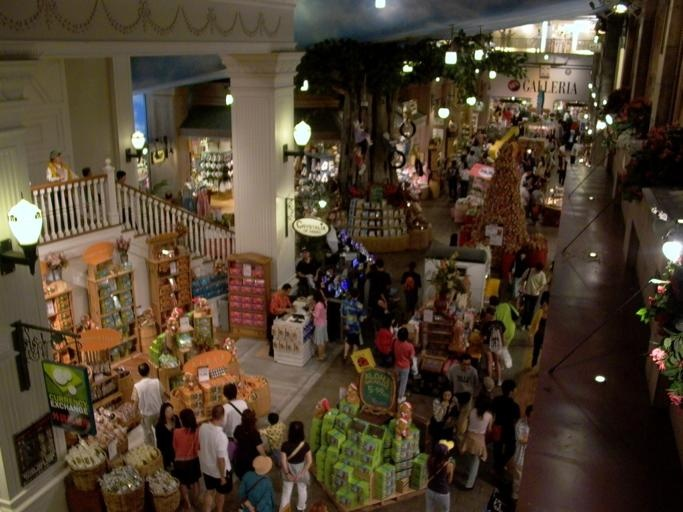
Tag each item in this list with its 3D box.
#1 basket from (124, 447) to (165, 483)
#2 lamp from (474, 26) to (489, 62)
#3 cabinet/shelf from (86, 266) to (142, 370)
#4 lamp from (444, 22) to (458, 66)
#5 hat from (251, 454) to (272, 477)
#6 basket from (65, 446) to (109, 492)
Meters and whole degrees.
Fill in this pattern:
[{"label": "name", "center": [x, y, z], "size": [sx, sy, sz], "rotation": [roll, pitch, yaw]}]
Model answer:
[{"label": "basket", "center": [-2.458, 2.564, 6.227], "size": [0.417, 0.247, 0.424], "rotation": [-10, 13, -32]}, {"label": "lamp", "center": [4.019, -5.990, 14.518], "size": [0.254, 0.938, 2.555], "rotation": [1, 12, 17]}, {"label": "cabinet/shelf", "center": [-4.322, 1.045, 9.482], "size": [0.326, 1.916, 0.822], "rotation": [6, 13, 36]}, {"label": "lamp", "center": [2.914, -5.473, 13.246], "size": [0.314, 1.118, 2.749], "rotation": [0, 12, 13]}, {"label": "hat", "center": [-0.857, 2.277, 5.390], "size": [0.177, 0.291, 0.250], "rotation": [-5, 11, -15]}, {"label": "basket", "center": [-3.003, 2.468, 5.867], "size": [0.398, 0.448, 0.278], "rotation": [2, 12, 20]}]
